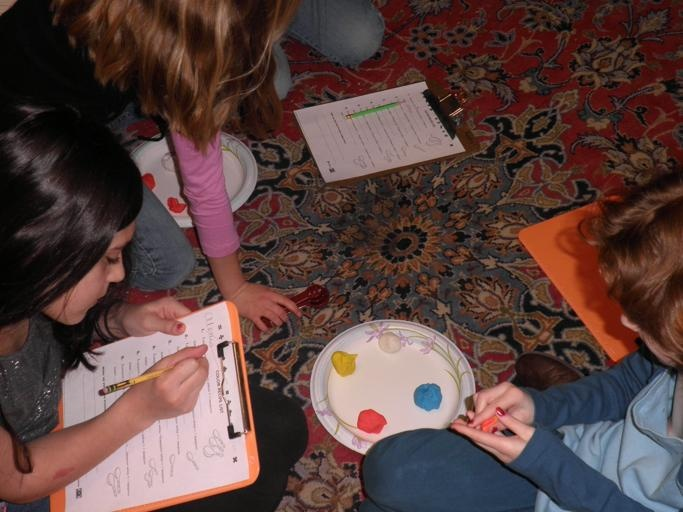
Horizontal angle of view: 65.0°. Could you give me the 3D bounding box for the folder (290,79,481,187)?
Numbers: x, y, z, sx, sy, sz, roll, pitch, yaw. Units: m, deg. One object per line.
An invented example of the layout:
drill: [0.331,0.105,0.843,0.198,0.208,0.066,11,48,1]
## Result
folder: [0.141,-0.409,1.807,0.537,0.057,0.327,-15,60,-5]

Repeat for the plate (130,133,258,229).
plate: [-0.459,-0.259,1.722,0.358,0.037,0.321,3,65,-10]

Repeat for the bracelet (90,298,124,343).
bracelet: [-0.617,0.169,1.404,0.096,0.041,0.108,5,97,-6]

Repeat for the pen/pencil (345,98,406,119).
pen/pencil: [0.123,-0.512,1.864,0.274,0.023,0.028,-13,76,-4]

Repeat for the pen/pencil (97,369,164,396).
pen/pencil: [-0.478,0.290,1.225,0.179,0.018,0.018,-18,96,0]
